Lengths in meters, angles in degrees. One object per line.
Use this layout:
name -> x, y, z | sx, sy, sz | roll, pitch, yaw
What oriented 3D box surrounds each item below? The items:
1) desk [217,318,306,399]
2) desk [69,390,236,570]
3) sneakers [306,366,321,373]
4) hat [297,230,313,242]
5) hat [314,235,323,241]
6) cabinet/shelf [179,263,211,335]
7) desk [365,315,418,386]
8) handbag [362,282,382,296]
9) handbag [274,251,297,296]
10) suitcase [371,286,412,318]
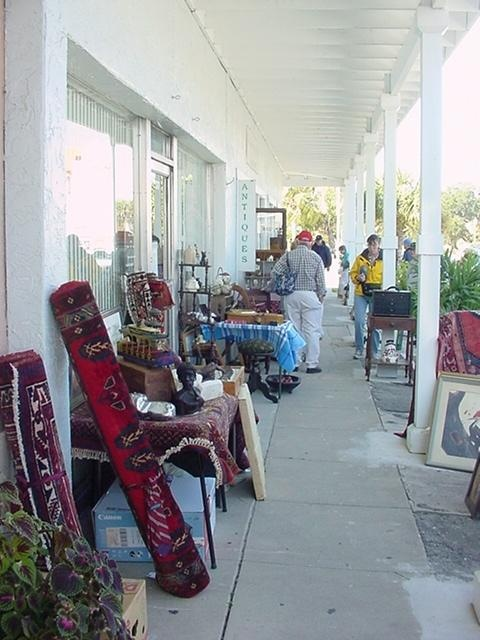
desk -> 0.237, 0.364, 5.716 | 0.833, 0.749, 0.899 | 4, 3, 14
desk -> -0.421, 0.759, 2.574 | 0.567, 0.207, 0.611 | 6, 16, 14
sneakers -> 1.062, 0.710, 7.098 | 0.260, 0.091, 0.236 | 0, 5, -12
hat -> 0.954, -1.199, 7.344 | 0.147, 0.131, 0.232 | 8, 37, 8
hat -> 2.264, -2.365, 14.341 | 0.183, 0.121, 0.306 | -4, 9, 5
cabinet/shelf -> -0.574, -0.291, 6.134 | 0.371, 0.841, 1.651 | 0, 5, -6
desk -> 1.907, 0.405, 6.639 | 0.733, 1.258, 0.826 | 2, 3, 10
handbag -> 1.918, -0.458, 7.210 | 0.194, 0.157, 0.119 | 8, 25, 27
handbag -> 0.635, -0.649, 7.034 | 0.300, 0.597, 0.182 | 1, 5, 3
suitcase -> 1.912, -0.213, 6.364 | 0.478, 0.424, 0.315 | 0, 3, 5
